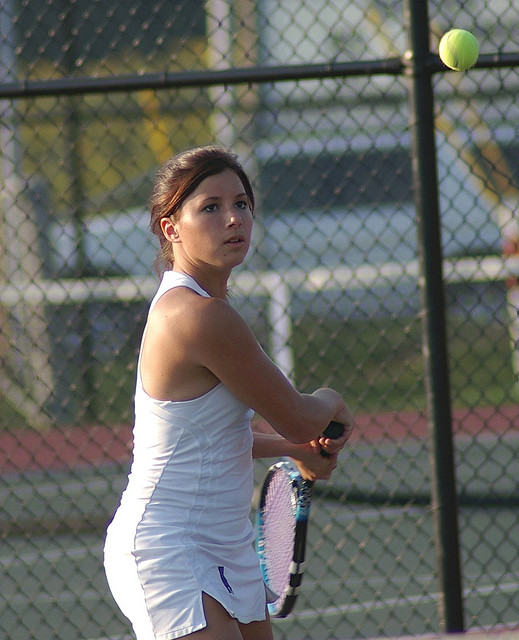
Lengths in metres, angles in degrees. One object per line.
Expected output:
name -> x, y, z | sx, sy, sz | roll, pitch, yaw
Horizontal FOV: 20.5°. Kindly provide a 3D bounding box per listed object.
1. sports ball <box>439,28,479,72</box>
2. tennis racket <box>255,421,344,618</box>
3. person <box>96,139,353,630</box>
sports ball -> 0.872, -1.164, 6.145 | 0.194, 0.198, 0.187 | 2, 8, 0
tennis racket -> 0.094, 0.831, 6.168 | 0.452, 0.787, 0.579 | 2, 1, -33
person -> -0.168, 0.273, 5.608 | 0.926, 1.894, 0.463 | -8, 5, -35
